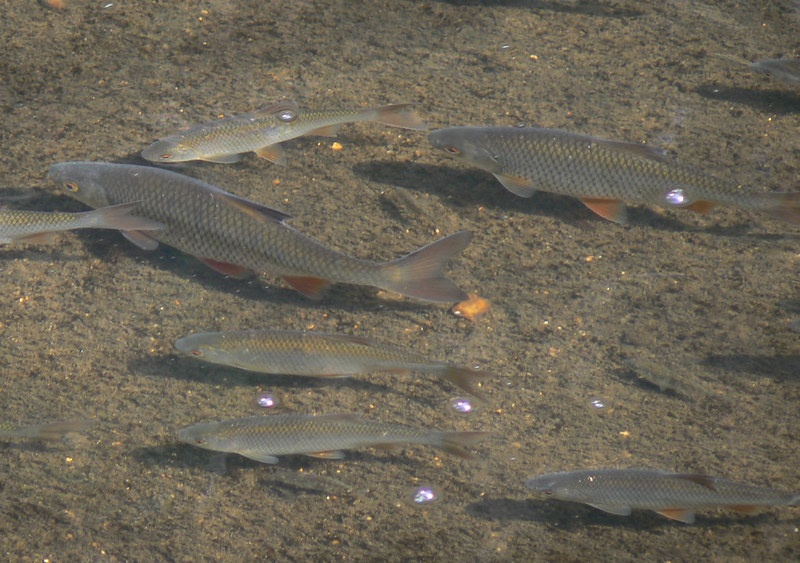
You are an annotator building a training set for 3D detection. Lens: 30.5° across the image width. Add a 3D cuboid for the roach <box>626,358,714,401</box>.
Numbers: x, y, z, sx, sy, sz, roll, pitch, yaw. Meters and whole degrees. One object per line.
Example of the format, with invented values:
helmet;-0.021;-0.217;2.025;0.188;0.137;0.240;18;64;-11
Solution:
roach;2.973;1.119;16.132;0.803;0.161;0.254;23;87;4
